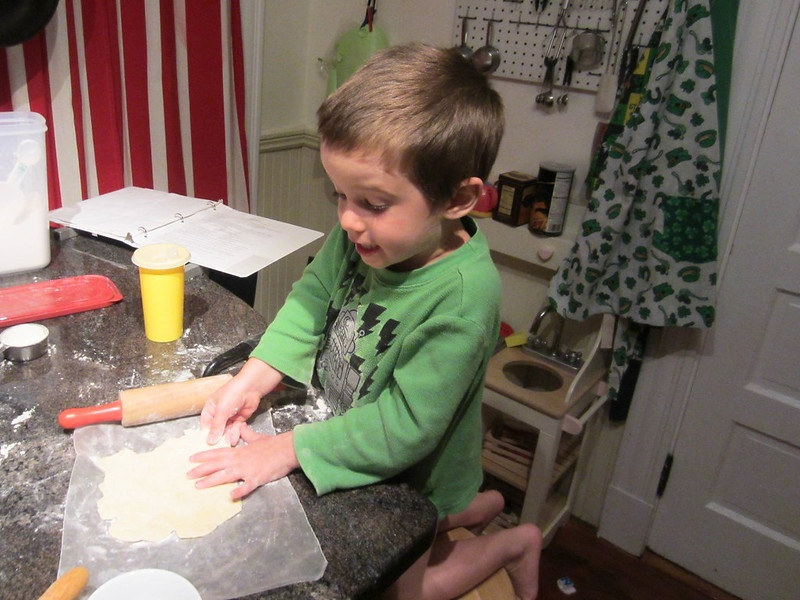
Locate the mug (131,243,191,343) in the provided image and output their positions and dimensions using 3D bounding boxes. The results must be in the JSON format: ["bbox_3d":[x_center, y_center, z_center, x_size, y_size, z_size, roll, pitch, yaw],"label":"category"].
[{"bbox_3d":[-0.546,0.005,1.331,0.130,0.213,0.136,2,9,-8],"label":"mug"}]

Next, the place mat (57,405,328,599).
[{"bbox_3d":[-0.350,0.330,0.984,0.376,0.078,0.404,-4,24,-23],"label":"place mat"}]

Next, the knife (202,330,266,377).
[{"bbox_3d":[-0.357,0.124,1.300,0.040,0.058,0.199,27,33,16],"label":"knife"}]
